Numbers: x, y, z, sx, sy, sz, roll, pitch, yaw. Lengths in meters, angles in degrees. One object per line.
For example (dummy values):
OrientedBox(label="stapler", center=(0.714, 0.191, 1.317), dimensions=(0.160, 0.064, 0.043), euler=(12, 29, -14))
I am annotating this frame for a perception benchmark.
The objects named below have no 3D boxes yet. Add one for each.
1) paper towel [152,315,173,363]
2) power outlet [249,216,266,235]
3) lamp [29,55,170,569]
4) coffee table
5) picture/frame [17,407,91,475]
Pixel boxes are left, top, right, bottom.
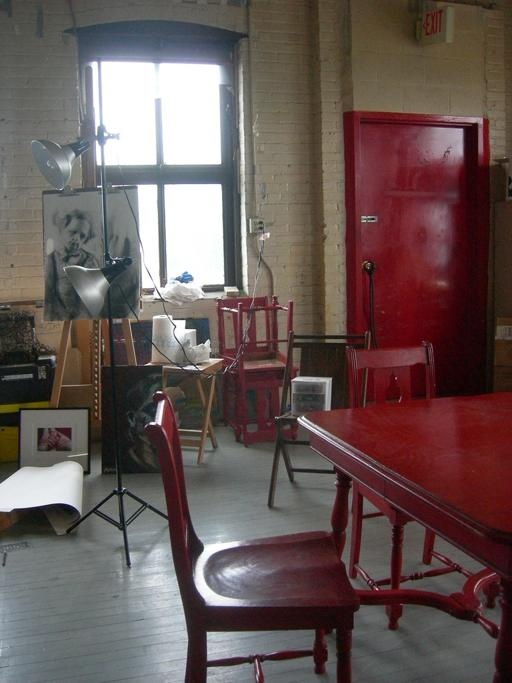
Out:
OrientedBox(label="paper towel", center=(-0.555, -0.006, 3.718), dimensions=(0.155, 0.275, 0.120), euler=(0, 2, -32))
OrientedBox(label="power outlet", center=(0.010, -0.861, 4.518), dimensions=(0.123, 0.189, 0.136), euler=(-3, 7, -27))
OrientedBox(label="lamp", center=(-0.716, -0.223, 2.771), dimensions=(0.452, 2.125, 1.577), euler=(-4, 9, -12))
OrientedBox(label="coffee table", center=(-0.425, 0.423, 3.773), dimensions=(0.488, 0.545, 0.487), euler=(-2, 2, -18))
OrientedBox(label="picture/frame", center=(-1.083, 0.529, 3.237), dimensions=(0.363, 0.360, 0.016), euler=(0, 1, 0))
